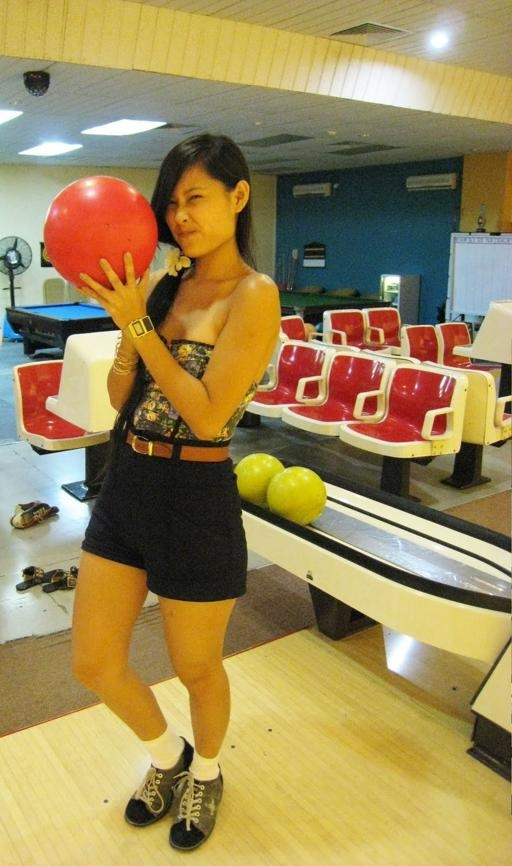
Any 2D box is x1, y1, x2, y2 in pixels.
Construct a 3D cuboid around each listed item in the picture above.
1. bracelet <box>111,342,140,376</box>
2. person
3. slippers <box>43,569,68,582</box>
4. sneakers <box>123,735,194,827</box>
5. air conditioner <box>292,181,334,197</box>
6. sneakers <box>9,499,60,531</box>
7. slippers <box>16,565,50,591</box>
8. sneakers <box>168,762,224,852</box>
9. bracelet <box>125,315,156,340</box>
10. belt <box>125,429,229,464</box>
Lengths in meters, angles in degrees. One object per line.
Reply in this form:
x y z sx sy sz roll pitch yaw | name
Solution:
-0.246 -0.134 1.137 0.043 0.058 0.059 2 9 0 | bracelet
-0.163 0.198 1.164 0.393 1.474 0.440 -5 10 -22 | person
-0.918 0.651 2.726 0.065 0.021 0.068 -3 5 5 | slippers
-0.231 0.813 1.420 0.090 0.233 0.089 24 -10 33 | sneakers
1.267 -5.317 13.098 0.206 0.349 1.191 -7 12 -33 | air conditioner
-1.265 0.475 3.409 0.131 0.080 0.198 15 27 38 | sneakers
-1.018 0.664 2.710 0.095 0.039 0.092 -25 56 -11 | slippers
-0.131 0.837 1.319 0.063 0.077 0.193 6 26 6 | sneakers
-0.171 -0.156 0.889 0.040 0.026 0.038 -22 6 -25 | bracelet
-0.143 0.031 1.108 0.189 0.060 0.107 -3 10 -10 | belt
